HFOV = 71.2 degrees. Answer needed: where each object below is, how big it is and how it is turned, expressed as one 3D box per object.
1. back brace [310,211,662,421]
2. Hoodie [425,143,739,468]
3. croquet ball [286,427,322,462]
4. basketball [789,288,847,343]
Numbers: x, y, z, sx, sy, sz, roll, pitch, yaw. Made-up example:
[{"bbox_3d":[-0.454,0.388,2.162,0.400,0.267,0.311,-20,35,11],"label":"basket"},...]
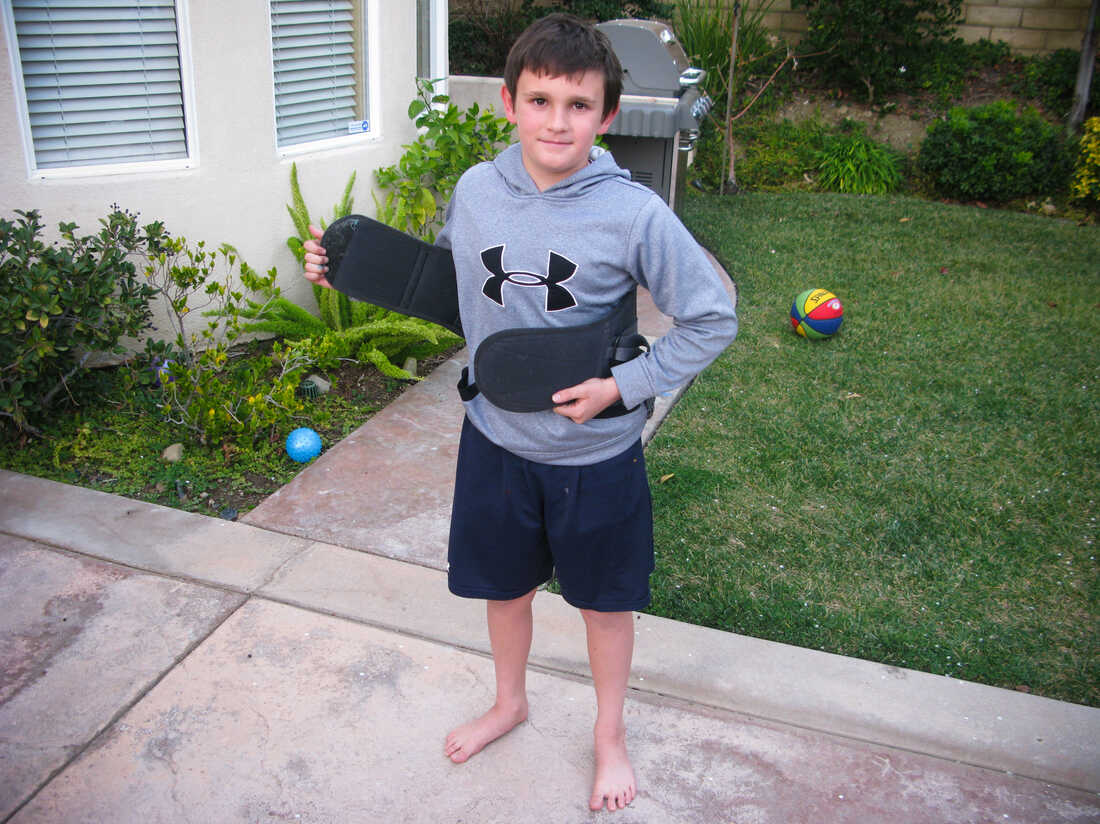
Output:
[{"bbox_3d":[-0.169,-0.324,2.049,0.712,0.559,0.183,21,54,8],"label":"back brace"},{"bbox_3d":[0.090,-0.269,1.955,0.749,0.748,0.335,4,27,2],"label":"Hoodie"},{"bbox_3d":[-1.180,0.145,3.699,0.144,0.114,0.150,-5,39,5],"label":"croquet ball"},{"bbox_3d":[1.743,-0.661,5.098,0.311,0.333,0.317,5,9,-22],"label":"basketball"}]
